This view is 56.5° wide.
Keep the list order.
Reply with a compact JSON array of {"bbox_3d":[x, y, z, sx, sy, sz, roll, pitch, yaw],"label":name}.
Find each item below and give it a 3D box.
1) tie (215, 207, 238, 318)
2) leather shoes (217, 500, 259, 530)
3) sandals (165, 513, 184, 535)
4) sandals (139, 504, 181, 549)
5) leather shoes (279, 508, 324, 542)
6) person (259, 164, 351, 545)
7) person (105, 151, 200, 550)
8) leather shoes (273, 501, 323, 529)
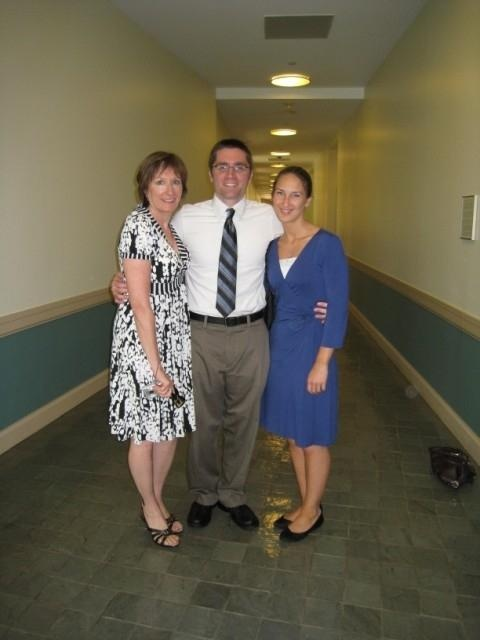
[{"bbox_3d":[-0.046,-0.224,1.742,0.060,0.428,0.089,4,6,32],"label":"tie"},{"bbox_3d":[-0.014,0.870,2.053,0.075,0.090,0.201,-18,19,-37],"label":"leather shoes"},{"bbox_3d":[-0.288,0.878,1.919,0.082,0.066,0.215,3,-5,-9],"label":"sandals"},{"bbox_3d":[-0.341,0.873,1.879,0.177,0.050,0.100,32,31,29],"label":"sandals"},{"bbox_3d":[0.271,0.872,1.936,0.194,0.072,0.074,-9,7,-41],"label":"leather shoes"},{"bbox_3d":[0.243,0.167,1.787,0.301,1.545,0.372,0,5,1],"label":"person"},{"bbox_3d":[-0.337,0.170,1.678,0.280,1.546,0.421,1,5,6],"label":"person"},{"bbox_3d":[0.253,0.860,1.995,0.221,0.094,0.081,4,-9,-28],"label":"leather shoes"}]
